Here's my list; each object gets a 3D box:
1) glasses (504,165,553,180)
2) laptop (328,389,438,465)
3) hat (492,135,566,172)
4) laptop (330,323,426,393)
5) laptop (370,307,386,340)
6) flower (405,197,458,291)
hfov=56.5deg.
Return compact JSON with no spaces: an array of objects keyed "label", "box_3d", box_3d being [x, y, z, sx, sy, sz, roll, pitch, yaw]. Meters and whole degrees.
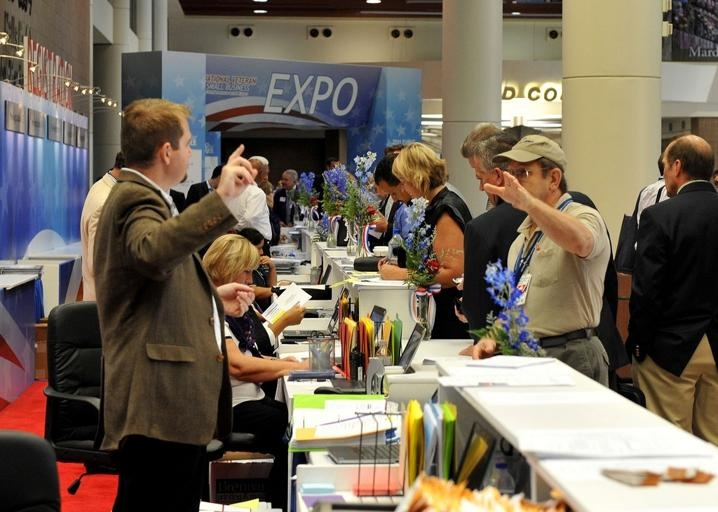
[{"label":"glasses","box_3d":[0.665,-0.330,2.629,0.094,0.028,0.093,2,-2,-26]},{"label":"laptop","box_3d":[0.071,0.539,2.354,0.295,0.198,0.312,-1,0,-7]},{"label":"hat","box_3d":[0.690,-0.407,2.638,0.205,0.103,0.140,4,-1,-12]},{"label":"laptop","box_3d":[0.090,0.472,2.947,0.314,0.251,0.336,0,-2,-4]},{"label":"laptop","box_3d":[0.092,0.326,3.171,0.096,0.018,0.182,-24,31,20]},{"label":"flower","box_3d":[0.397,-0.058,3.542,0.282,0.222,0.536,0,51,-3]}]
